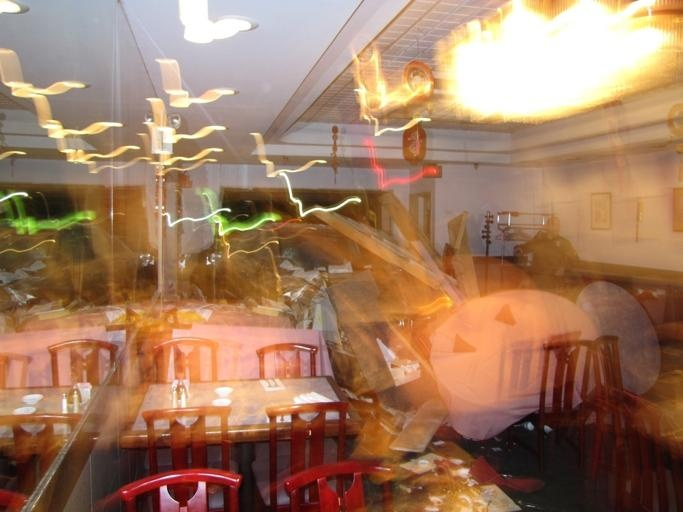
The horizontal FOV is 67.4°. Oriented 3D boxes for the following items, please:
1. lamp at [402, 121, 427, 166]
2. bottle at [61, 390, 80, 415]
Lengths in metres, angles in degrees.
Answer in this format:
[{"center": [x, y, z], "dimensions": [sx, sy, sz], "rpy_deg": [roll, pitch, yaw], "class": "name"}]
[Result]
[{"center": [0.864, -1.321, 5.957], "dimensions": [0.288, 0.488, 0.287], "rpy_deg": [0, 4, -23], "class": "lamp"}, {"center": [-1.556, 0.846, 2.933], "dimensions": [0.092, 0.133, 0.042], "rpy_deg": [0, -4, -13], "class": "bottle"}]
